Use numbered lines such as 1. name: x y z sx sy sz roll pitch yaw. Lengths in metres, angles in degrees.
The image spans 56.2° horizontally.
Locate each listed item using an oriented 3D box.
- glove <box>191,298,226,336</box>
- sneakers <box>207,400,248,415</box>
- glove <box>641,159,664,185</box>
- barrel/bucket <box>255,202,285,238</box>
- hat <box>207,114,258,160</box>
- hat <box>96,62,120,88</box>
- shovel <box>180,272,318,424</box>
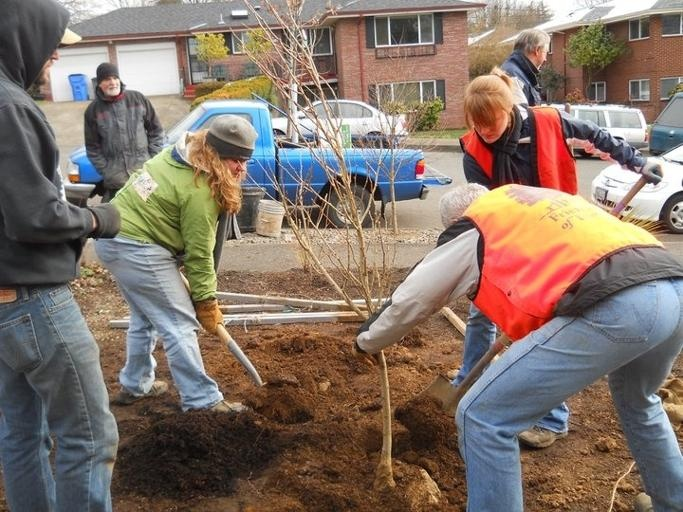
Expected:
1. glove: -0.858 0.379 4.178 0.139 0.247 0.088 -17 12 -3
2. sneakers: -0.728 0.974 4.115 0.249 0.106 0.084 -2 11 -17
3. glove: 2.020 -0.547 4.171 0.124 0.171 0.073 9 -9 -11
4. barrel/bucket: -0.889 -0.496 8.475 0.489 0.539 0.508 3 15 -1
5. hat: -0.635 -0.742 3.884 0.308 0.239 0.222 16 35 -8
6. hat: -2.224 -1.744 6.111 0.261 0.202 0.201 -21 16 -42
7. shovel: -0.467 0.903 4.515 0.221 1.957 0.221 -39 26 -3
